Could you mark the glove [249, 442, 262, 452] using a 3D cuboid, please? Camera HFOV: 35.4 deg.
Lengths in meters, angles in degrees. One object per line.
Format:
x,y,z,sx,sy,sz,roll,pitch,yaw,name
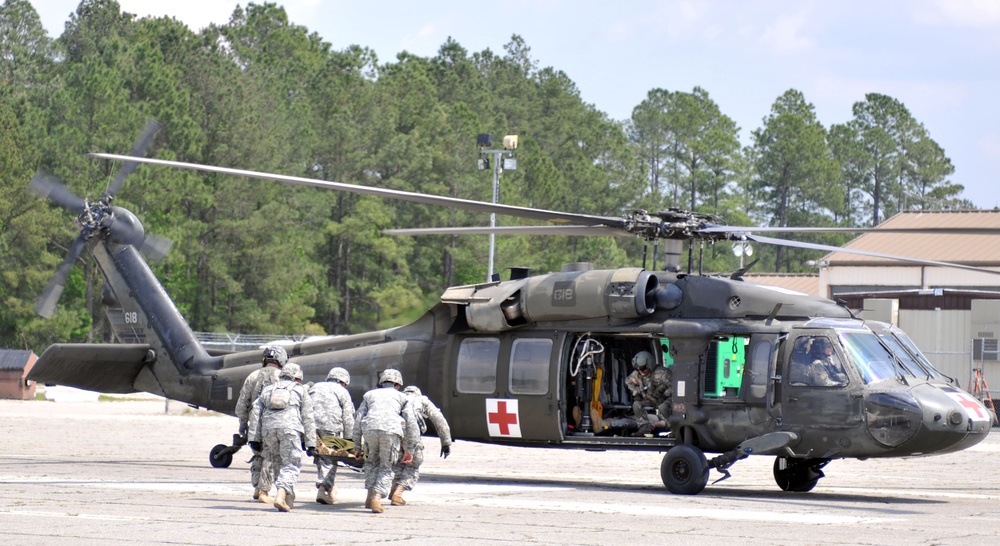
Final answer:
-10.889,7.754,69.656,0.379,0.436,0.502,5,15,-25,glove
